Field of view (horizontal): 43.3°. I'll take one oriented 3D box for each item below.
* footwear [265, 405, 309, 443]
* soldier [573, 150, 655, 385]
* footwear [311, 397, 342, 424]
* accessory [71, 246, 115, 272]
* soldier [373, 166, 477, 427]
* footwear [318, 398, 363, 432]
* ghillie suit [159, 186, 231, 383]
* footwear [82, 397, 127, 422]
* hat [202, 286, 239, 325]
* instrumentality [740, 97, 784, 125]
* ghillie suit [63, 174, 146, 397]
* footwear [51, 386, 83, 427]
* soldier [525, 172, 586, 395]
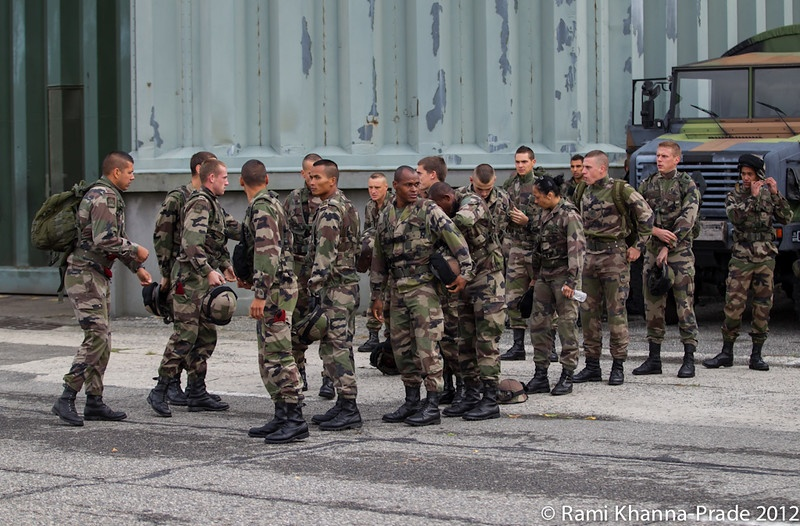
[{"bbox_3d":[-1.151,1.594,10.108,0.495,0.408,0.223,-4,3,-36],"label":"footwear"},{"bbox_3d":[2.562,0.035,12.170,0.913,2.764,0.735,0,7,13],"label":"soldier"},{"bbox_3d":[-0.684,1.597,10.738,0.489,0.282,0.174,3,5,4],"label":"footwear"},{"bbox_3d":[-3.327,-0.070,10.942,0.377,0.173,0.264,17,-4,-13],"label":"accessory"},{"bbox_3d":[0.193,0.335,10.671,1.131,2.714,0.510,0,7,14],"label":"soldier"},{"bbox_3d":[-0.583,1.591,10.498,0.544,0.349,0.228,1,-1,-4],"label":"footwear"},{"bbox_3d":[-2.190,0.220,11.222,0.698,2.116,0.793,3,9,35],"label":"ghillie suit"},{"bbox_3d":[-3.128,1.570,10.874,0.539,0.286,0.206,0,3,-9],"label":"footwear"},{"bbox_3d":[-1.977,0.461,11.009,0.426,0.456,0.281,1,7,15],"label":"hat"},{"bbox_3d":[5.575,-2.331,15.197,0.445,0.405,0.247,5,-36,16],"label":"instrumentality"},{"bbox_3d":[-3.263,0.273,10.953,0.846,2.370,0.514,-4,7,-17],"label":"ghillie suit"},{"bbox_3d":[-3.540,1.504,10.751,0.336,0.400,0.345,-2,7,-8],"label":"footwear"},{"bbox_3d":[1.806,0.245,11.719,0.658,2.511,0.559,0,7,13],"label":"soldier"}]
